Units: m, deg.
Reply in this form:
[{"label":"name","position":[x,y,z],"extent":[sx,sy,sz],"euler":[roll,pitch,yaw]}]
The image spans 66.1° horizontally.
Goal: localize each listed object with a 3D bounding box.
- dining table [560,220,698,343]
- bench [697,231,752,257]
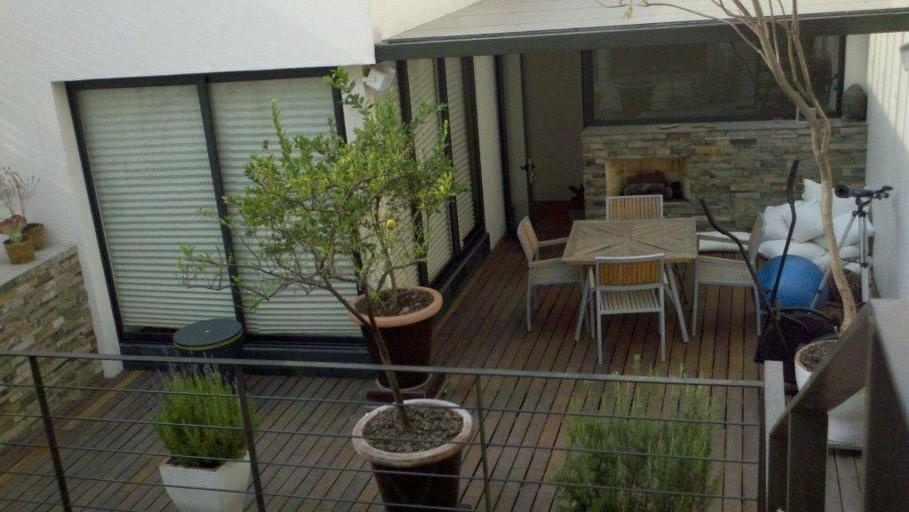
[{"label":"dining table","position":[2.372,0.393,9.151],"extent":[1.758,1.158,1.618],"euler":[-2,31,12]},{"label":"bench","position":[3.952,-0.250,10.231],"extent":[0.672,0.201,0.622],"euler":[9,41,15]}]
